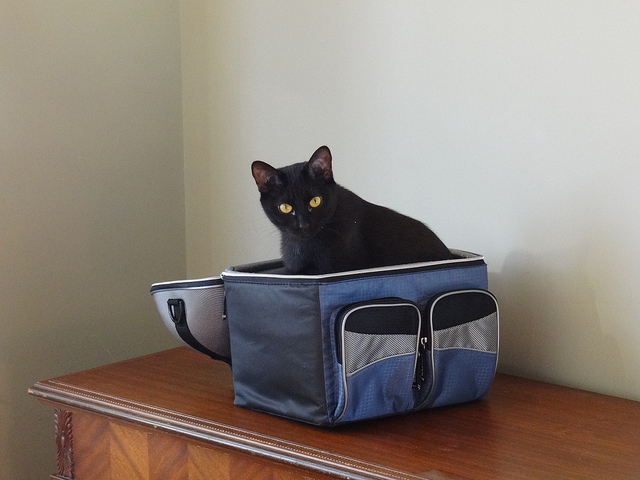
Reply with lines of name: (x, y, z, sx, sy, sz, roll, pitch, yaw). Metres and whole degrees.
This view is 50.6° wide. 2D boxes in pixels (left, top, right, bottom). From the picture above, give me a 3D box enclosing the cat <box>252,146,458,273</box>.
cat: (0.048, -0.032, 1.558, 0.187, 0.334, 0.623, 7, 11, 26)
